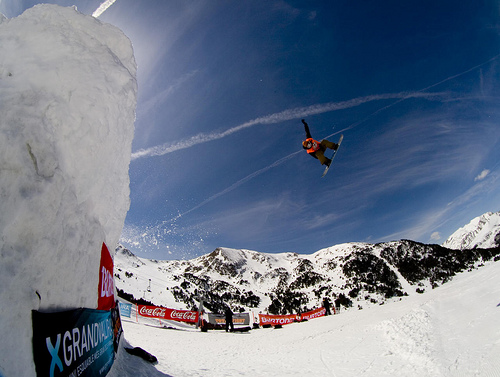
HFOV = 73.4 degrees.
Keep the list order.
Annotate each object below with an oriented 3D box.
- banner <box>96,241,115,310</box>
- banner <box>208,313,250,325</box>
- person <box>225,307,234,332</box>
[{"bbox_3d":[-4.531,2.744,10.487,0.149,1.373,2.256,-6,-28,-18],"label":"banner"},{"bbox_3d":[-1.534,9.672,24.795,3.187,0.849,0.673,7,-14,-23],"label":"banner"},{"bbox_3d":[-1.446,9.295,23.525,0.526,1.383,0.479,2,-12,-3],"label":"person"}]
